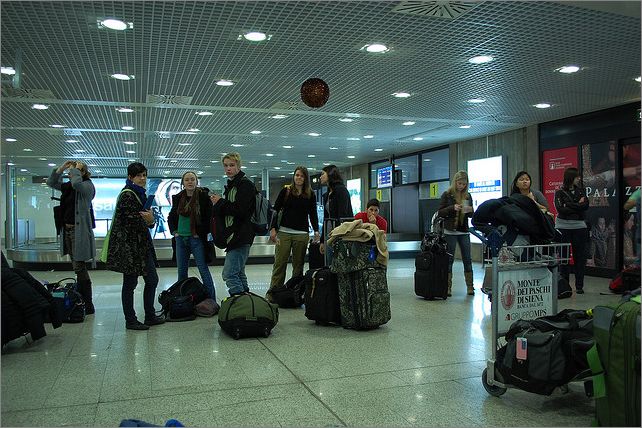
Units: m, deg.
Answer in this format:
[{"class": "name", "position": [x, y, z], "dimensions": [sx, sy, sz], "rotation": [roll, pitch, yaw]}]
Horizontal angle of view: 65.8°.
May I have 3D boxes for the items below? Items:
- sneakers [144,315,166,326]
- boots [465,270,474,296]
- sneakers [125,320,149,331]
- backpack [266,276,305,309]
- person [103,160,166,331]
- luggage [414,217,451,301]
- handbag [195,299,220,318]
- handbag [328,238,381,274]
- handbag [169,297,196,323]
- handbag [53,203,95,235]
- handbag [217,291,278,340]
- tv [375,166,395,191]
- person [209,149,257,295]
[{"class": "sneakers", "position": [-2.147, 1.380, 6.421], "dimensions": [0.261, 0.103, 0.100], "rotation": [-1, 2, -37]}, {"class": "boots", "position": [2.417, 1.116, 8.037], "dimensions": [0.155, 0.375, 0.204], "rotation": [1, 6, 16]}, {"class": "sneakers", "position": [-2.309, 1.399, 6.234], "dimensions": [0.318, 0.117, 0.111], "rotation": [3, -3, 0]}, {"class": "backpack", "position": [-0.492, 1.147, 7.199], "dimensions": [0.575, 0.511, 0.408], "rotation": [-7, -8, 27]}, {"class": "person", "position": [-2.317, 0.417, 6.072], "dimensions": [0.584, 2.062, 0.423], "rotation": [-2, 6, -18]}, {"class": "luggage", "position": [1.748, 0.671, 7.923], "dimensions": [0.557, 1.288, 0.515], "rotation": [2, 0, -5]}, {"class": "handbag", "position": [-1.577, 1.297, 6.816], "dimensions": [0.211, 0.098, 0.284], "rotation": [6, 6, 30]}, {"class": "handbag", "position": [0.395, 0.509, 6.097], "dimensions": [0.513, 0.327, 0.415], "rotation": [2, 0, 16]}, {"class": "handbag", "position": [-1.914, 1.278, 6.702], "dimensions": [0.357, 0.291, 0.362], "rotation": [-1, 3, -5]}, {"class": "handbag", "position": [-3.605, 0.077, 7.165], "dimensions": [0.436, 0.566, 0.558], "rotation": [2, -7, -29]}, {"class": "handbag", "position": [-0.901, 1.216, 6.005], "dimensions": [0.476, 0.305, 0.643], "rotation": [2, 1, -9]}, {"class": "tv", "position": [2.205, -1.291, 17.144], "dimensions": [0.209, 0.775, 1.064], "rotation": [-2, 6, -14]}, {"class": "person", "position": [-1.136, 0.138, 6.318], "dimensions": [0.547, 1.828, 0.477], "rotation": [3, 7, 29]}]
